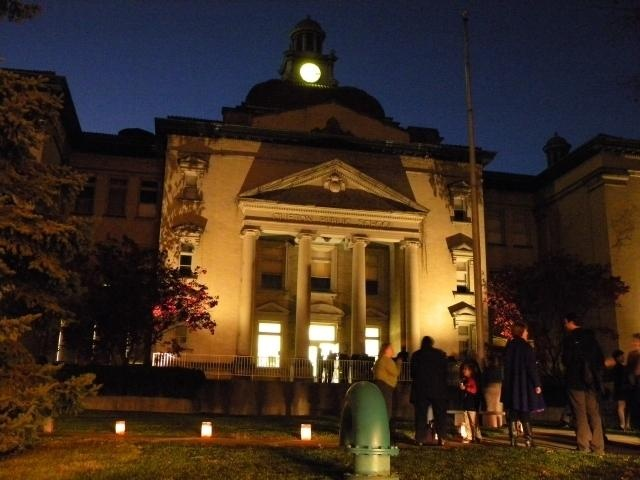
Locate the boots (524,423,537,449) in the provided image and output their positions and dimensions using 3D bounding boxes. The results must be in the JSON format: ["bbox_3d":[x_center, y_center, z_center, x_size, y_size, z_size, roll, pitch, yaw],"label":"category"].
[{"bbox_3d":[4.474,4.149,14.355,0.209,0.522,0.786,-3,-17,17],"label":"boots"}]

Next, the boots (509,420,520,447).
[{"bbox_3d":[4.172,4.128,14.399,0.171,0.537,0.393,-3,-16,16],"label":"boots"}]
